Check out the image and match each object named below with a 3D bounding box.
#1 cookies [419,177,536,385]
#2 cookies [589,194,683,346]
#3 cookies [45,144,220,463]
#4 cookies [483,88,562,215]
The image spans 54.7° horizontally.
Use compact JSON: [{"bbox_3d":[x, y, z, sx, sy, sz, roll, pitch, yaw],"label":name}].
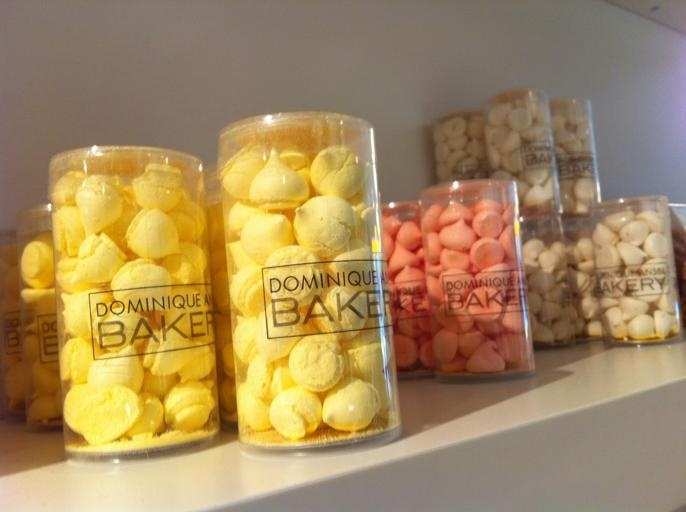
[{"bbox_3d":[0.223,0.037,1.113,0.172,0.323,0.129,-2,8,5],"label":"cookies"},{"bbox_3d":[0.580,0.027,1.320,0.162,0.281,0.122,0,9,20],"label":"cookies"},{"bbox_3d":[-0.264,0.051,0.842,0.195,0.379,0.135,-5,8,-13],"label":"cookies"},{"bbox_3d":[0.376,-0.215,1.413,0.145,0.246,0.140,-8,6,-17],"label":"cookies"}]
